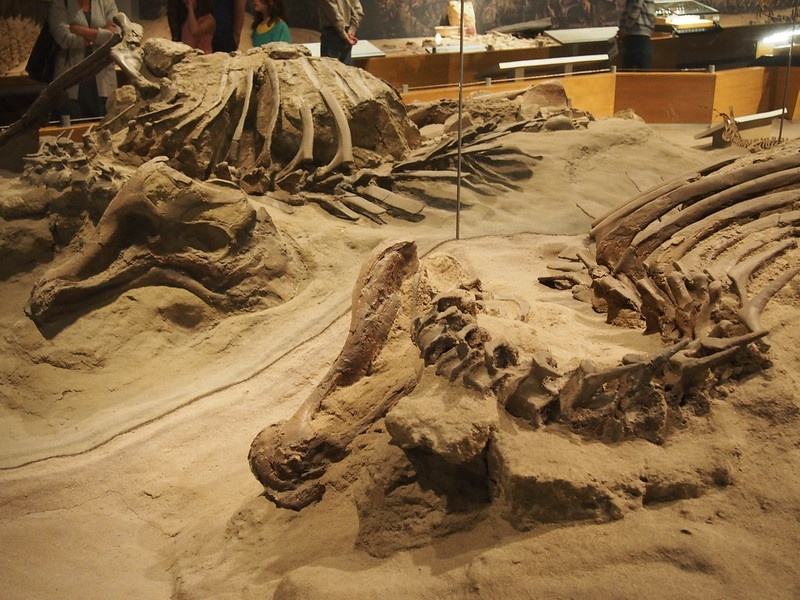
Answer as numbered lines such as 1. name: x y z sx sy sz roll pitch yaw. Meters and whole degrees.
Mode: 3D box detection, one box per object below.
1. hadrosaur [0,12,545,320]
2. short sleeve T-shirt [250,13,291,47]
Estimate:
1. hadrosaur: -1.619 -1.377 9.099 2.761 1.786 4.022 27 41 23
2. short sleeve T-shirt: -1.431 -2.914 10.358 0.430 0.316 0.267 10 34 17
